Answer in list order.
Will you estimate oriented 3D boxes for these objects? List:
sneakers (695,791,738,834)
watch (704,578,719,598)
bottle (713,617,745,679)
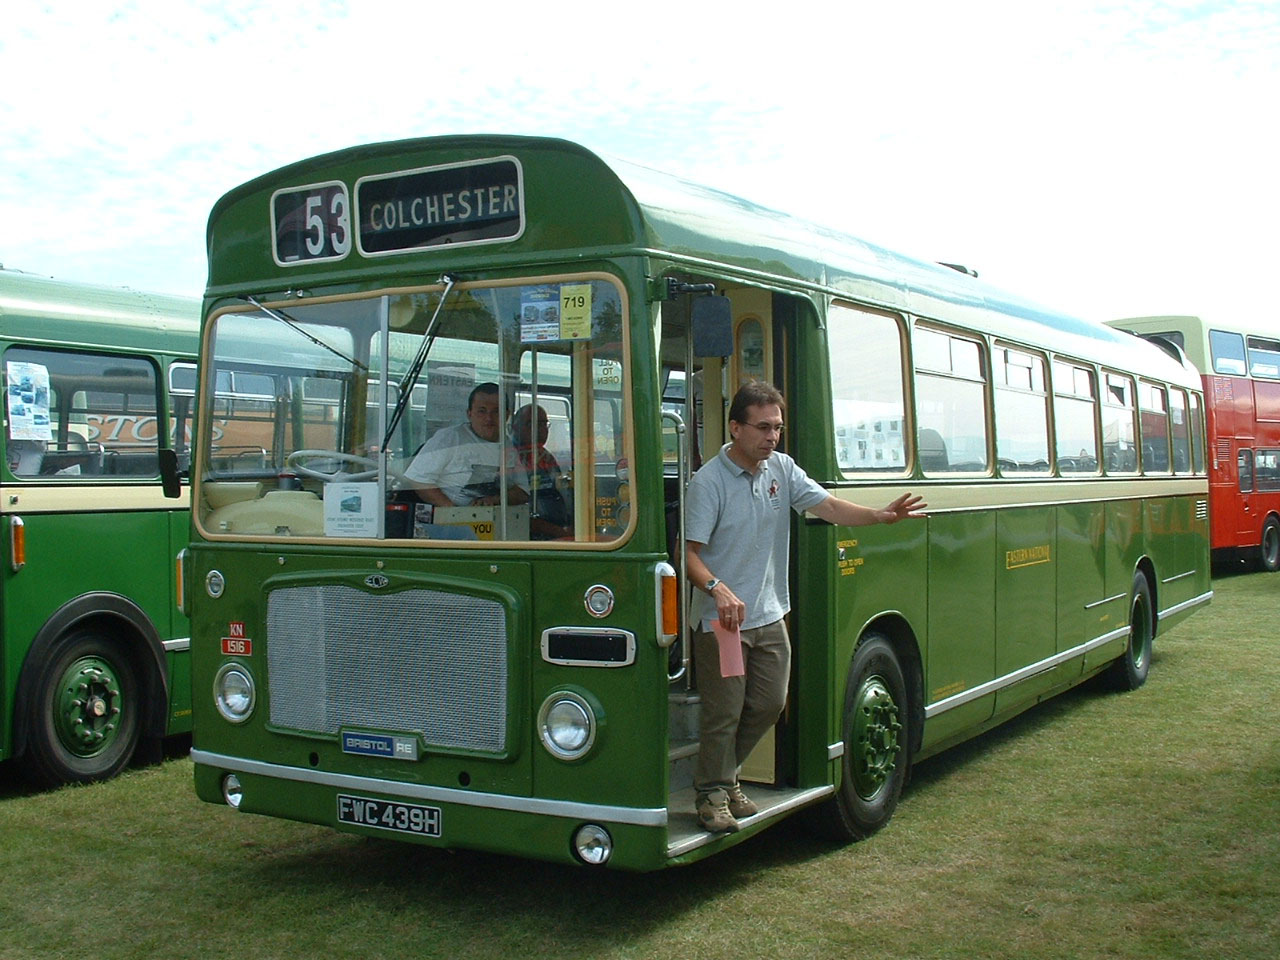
[{"bbox_3d":[0.391,1.693,5.416,0.201,0.210,0.117,0,0,-27],"label":"sneakers"},{"bbox_3d":[0.358,0.536,5.410,0.050,0.069,0.083,1,-16,-3],"label":"watch"},{"bbox_3d":[0.480,0.885,5.517,0.216,0.299,0.198,0,0,0],"label":"bottle"}]
